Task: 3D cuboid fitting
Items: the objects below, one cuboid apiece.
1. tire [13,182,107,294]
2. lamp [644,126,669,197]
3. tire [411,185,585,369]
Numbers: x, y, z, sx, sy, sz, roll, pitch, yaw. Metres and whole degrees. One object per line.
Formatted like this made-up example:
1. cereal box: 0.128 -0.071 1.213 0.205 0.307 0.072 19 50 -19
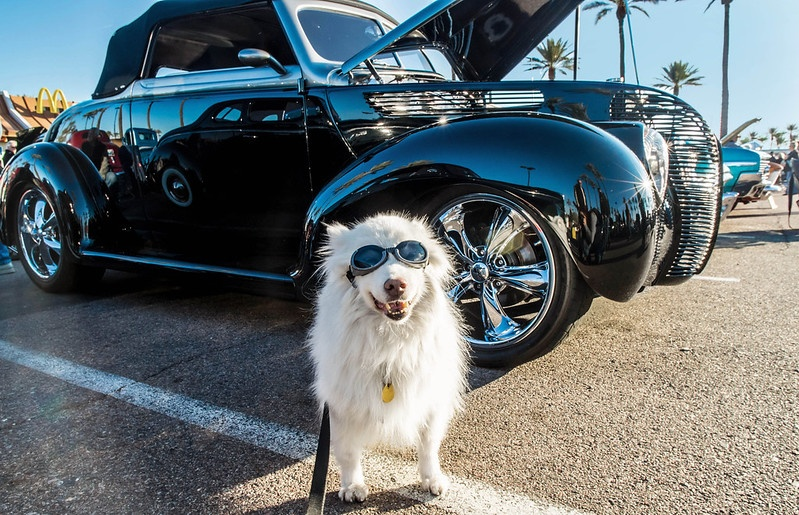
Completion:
1. tire: -3.622 -0.249 5.448 1.125 1.252 0.431 4 6 27
2. lamp: 1.871 -0.682 3.703 0.175 0.491 0.444 6 13 27
3. tire: 0.775 0.085 4.089 1.390 1.381 0.569 23 22 32
